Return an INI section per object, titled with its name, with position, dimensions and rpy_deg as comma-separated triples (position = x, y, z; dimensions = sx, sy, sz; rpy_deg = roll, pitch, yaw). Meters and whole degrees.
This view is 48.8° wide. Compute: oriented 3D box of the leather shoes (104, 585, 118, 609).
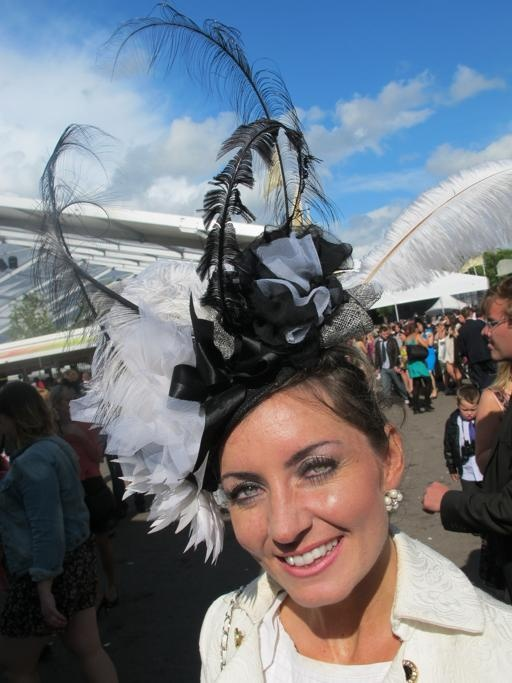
[leather shoes]
position = -1.173, 2.071, 4.553
dimensions = 0.100, 0.195, 0.193
rpy_deg = 3, -35, -8

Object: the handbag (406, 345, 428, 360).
[handbag]
position = 2.898, 0.223, 10.180
dimensions = 0.274, 0.215, 0.325
rpy_deg = 3, 12, 29
